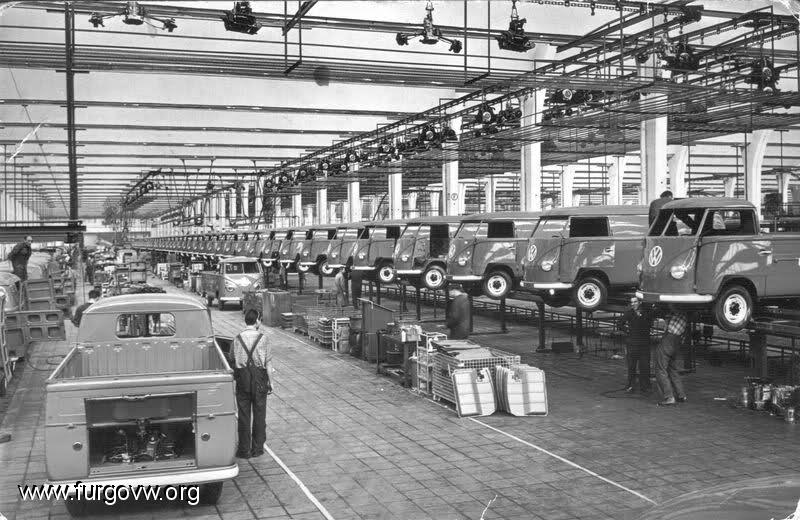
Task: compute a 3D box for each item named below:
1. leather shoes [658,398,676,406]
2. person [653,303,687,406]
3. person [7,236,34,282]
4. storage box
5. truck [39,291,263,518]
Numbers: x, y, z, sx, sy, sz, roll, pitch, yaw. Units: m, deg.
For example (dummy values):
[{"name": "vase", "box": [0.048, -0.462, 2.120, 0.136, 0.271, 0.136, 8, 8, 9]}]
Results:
[{"name": "leather shoes", "box": [6.277, 3.332, 19.296, 0.320, 0.144, 0.181, 2, -1, 13]}, {"name": "person", "box": [6.457, 2.257, 19.463, 0.656, 2.256, 0.893, 2, 4, 26]}, {"name": "person", "box": [-13.293, -0.040, 28.456, 0.688, 1.310, 1.695, -2, 4, -25]}, {"name": "storage box", "box": [1.709, 2.662, 19.507, 1.168, 1.360, 1.823, 0, 0, -30]}, {"name": "truck", "box": [-4.996, 2.639, 15.699, 3.268, 3.792, 3.206, -1, 4, -17]}]
